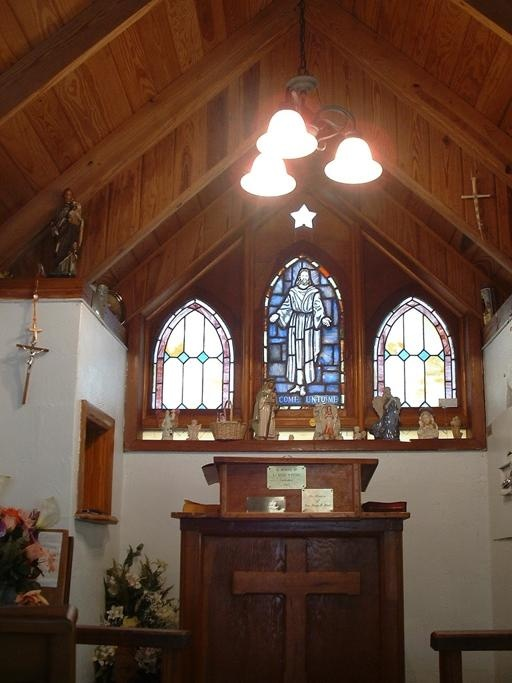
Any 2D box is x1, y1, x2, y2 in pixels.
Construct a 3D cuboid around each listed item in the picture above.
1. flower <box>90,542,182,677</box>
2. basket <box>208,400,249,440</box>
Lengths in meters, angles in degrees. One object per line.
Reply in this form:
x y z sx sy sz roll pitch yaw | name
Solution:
-0.851 1.986 4.648 0.569 0.929 1.063 3 -17 -6 | flower
-0.241 0.723 5.503 0.239 0.307 0.240 0 -19 -2 | basket
